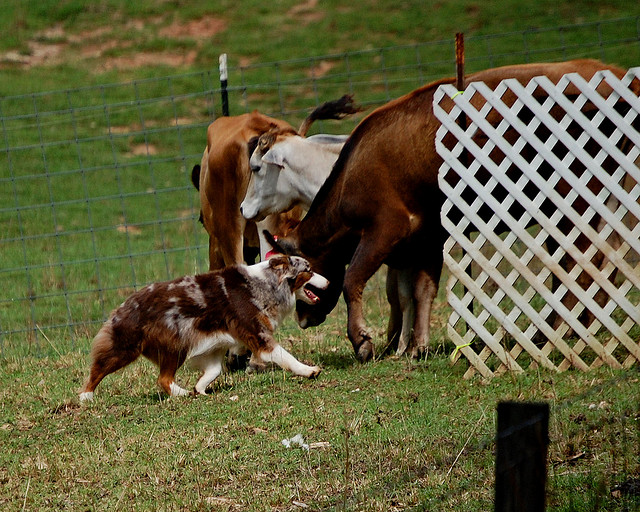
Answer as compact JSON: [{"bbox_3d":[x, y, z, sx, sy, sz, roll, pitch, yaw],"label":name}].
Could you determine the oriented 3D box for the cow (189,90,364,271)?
[{"bbox_3d":[-0.609,-1.015,18.884,1.583,2.868,1.962,-8,19,-24],"label":"cow"}]

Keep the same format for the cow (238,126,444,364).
[{"bbox_3d":[-0.200,-0.483,17.813,3.669,3.971,1.459,6,5,34],"label":"cow"}]
